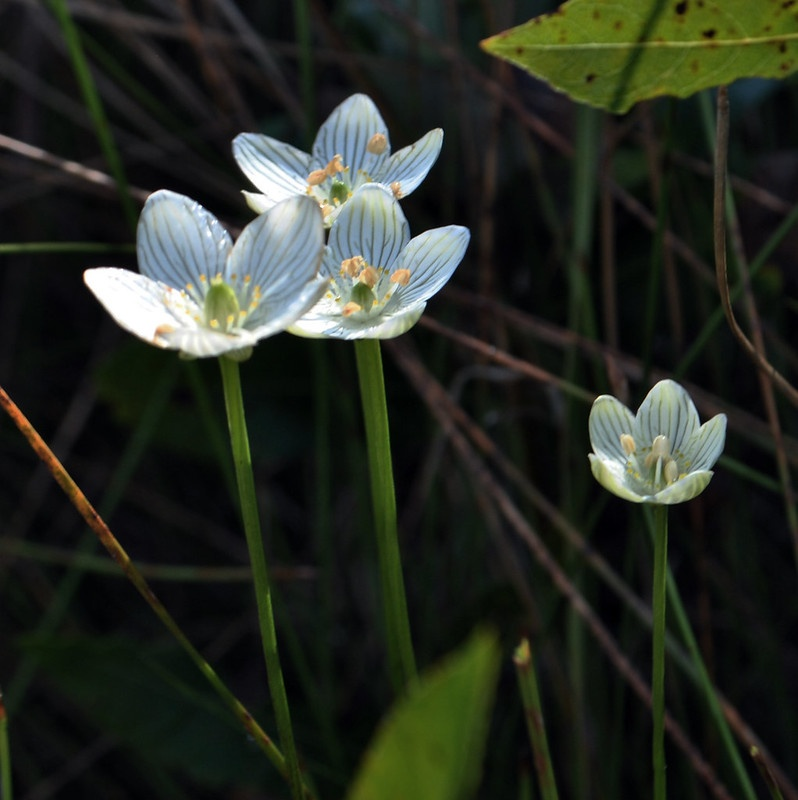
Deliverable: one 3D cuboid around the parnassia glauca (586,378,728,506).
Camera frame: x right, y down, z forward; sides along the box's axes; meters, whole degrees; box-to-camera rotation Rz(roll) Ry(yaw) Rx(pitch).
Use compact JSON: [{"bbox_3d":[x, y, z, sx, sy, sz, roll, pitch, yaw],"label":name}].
[{"bbox_3d":[0.256,0.058,0.949,0.114,0.165,0.106,5,-56,20],"label":"parnassia glauca"}]
